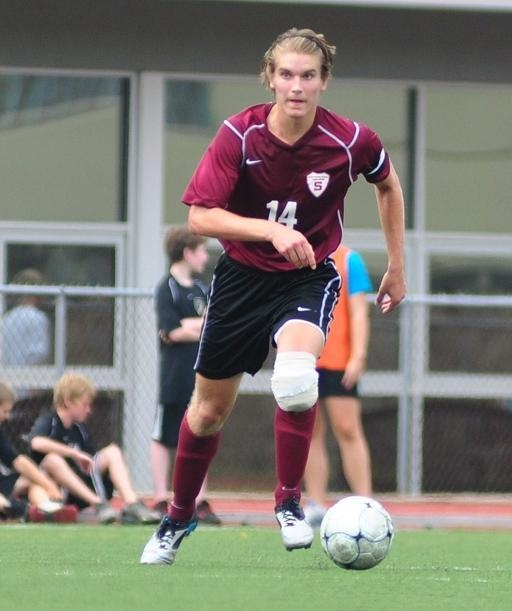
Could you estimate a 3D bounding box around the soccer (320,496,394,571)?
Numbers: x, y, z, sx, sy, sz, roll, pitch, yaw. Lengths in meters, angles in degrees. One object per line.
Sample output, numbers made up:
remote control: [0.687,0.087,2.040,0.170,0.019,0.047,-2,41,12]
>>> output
soccer: [0.425,0.983,5.926,0.257,0.316,0.279,19,-20,4]

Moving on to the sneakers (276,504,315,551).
sneakers: [0.166,0.944,5.950,0.080,0.146,0.261,-5,3,-11]

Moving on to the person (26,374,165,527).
person: [-0.984,0.877,7.898,0.496,1.092,0.950,3,-9,-44]

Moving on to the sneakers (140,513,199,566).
sneakers: [-0.388,1.044,6.183,0.114,0.347,0.144,27,-24,8]

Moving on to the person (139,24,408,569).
person: [0.064,-0.021,5.952,1.109,1.762,0.776,1,-1,4]
